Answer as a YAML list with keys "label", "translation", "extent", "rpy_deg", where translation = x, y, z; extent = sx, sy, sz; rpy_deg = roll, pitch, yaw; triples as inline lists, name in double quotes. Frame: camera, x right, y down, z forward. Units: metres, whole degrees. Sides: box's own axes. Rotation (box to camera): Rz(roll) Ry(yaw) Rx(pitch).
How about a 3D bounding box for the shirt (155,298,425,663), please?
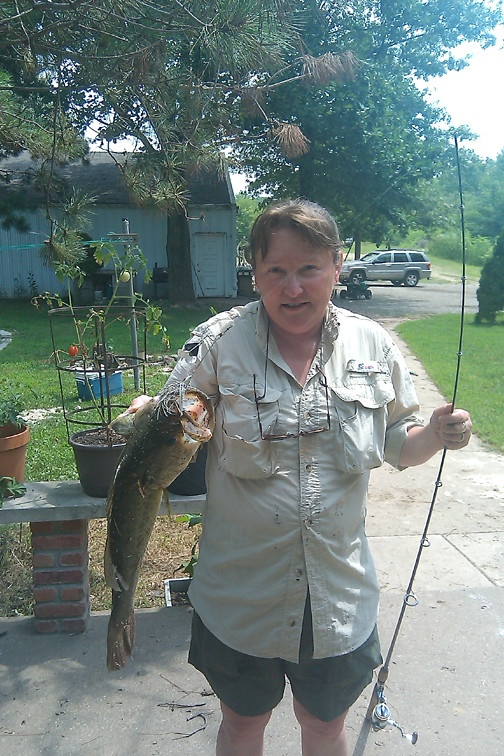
- label: "shirt"
  translation: [0.069, 0.218, 1.552]
  extent: [0.510, 0.787, 0.422]
  rpy_deg: [5, 11, 18]

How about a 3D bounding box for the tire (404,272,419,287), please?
- label: "tire"
  translation: [7.075, -4.386, 28.029]
  extent: [0.589, 0.545, 0.202]
  rpy_deg: [-8, 15, -19]

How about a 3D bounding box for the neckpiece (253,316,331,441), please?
- label: "neckpiece"
  translation: [0.092, 0.013, 1.443]
  extent: [0.185, 0.248, 0.158]
  rpy_deg: [5, 11, 20]
